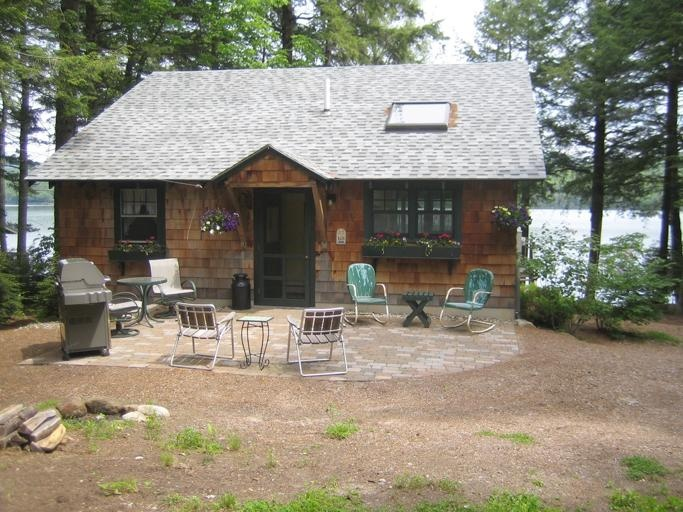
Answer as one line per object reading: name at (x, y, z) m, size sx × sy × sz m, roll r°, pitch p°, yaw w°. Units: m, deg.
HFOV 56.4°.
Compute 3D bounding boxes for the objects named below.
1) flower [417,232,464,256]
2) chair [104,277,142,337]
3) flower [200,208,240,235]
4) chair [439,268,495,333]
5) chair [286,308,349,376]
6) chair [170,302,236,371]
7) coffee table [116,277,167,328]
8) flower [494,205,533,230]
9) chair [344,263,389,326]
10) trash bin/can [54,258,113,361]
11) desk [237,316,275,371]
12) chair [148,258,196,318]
flower at (2.253, -0.254, 14.779) m, size 0.983 × 0.523 × 0.491 m, roll 1°, pitch 0°, yaw 7°
chair at (-4.663, 1.046, 13.414) m, size 0.915 × 1.155 × 0.929 m, roll 9°, pitch -4°, yaw -6°
flower at (-2.931, -0.733, 15.400) m, size 0.697 × 0.327 × 0.701 m, roll 3°, pitch 26°, yaw 2°
chair at (2.837, 0.978, 14.106) m, size 1.082 × 1.309 × 0.868 m, roll -3°, pitch 5°, yaw -33°
chair at (-0.451, 1.482, 11.548) m, size 1.123 × 1.172 × 1.442 m, roll 1°, pitch 0°, yaw -5°
chair at (-2.536, 1.345, 11.568) m, size 1.080 × 1.191 × 1.184 m, roll 5°, pitch 6°, yaw 28°
coffee table at (-4.332, 1.026, 13.935) m, size 0.936 × 0.982 × 0.945 m, roll -2°, pitch 1°, yaw 0°
flower at (3.785, -0.881, 14.412) m, size 0.643 × 0.447 × 0.618 m, roll 2°, pitch 3°, yaw -6°
chair at (0.599, 0.837, 14.810) m, size 1.021 × 1.355 × 1.331 m, roll 1°, pitch 0°, yaw 2°
trash bin/can at (-4.707, 0.965, 11.608) m, size 0.879 × 1.825 × 0.867 m, roll 0°, pitch 1°, yaw -24°
desk at (-1.587, 1.598, 11.699) m, size 0.685 × 0.863 × 0.692 m, roll -1°, pitch -1°, yaw -23°
chair at (-3.880, 0.797, 14.770) m, size 0.984 × 1.177 × 0.963 m, roll -2°, pitch 8°, yaw -13°
